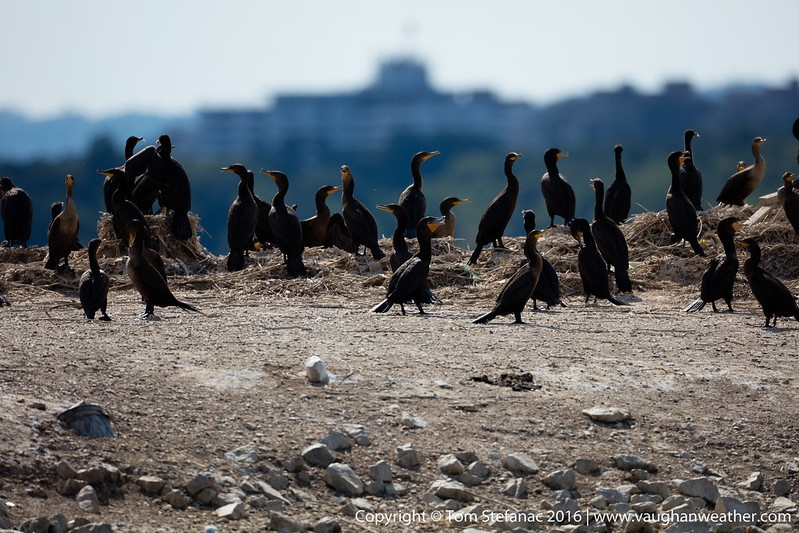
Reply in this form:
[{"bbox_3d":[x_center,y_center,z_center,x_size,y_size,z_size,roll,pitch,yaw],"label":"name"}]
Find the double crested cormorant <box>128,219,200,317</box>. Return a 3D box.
[{"bbox_3d":[-3.018,0.015,15.794,0.744,0.945,0.474,-1,1,7],"label":"double crested cormorant"}]
